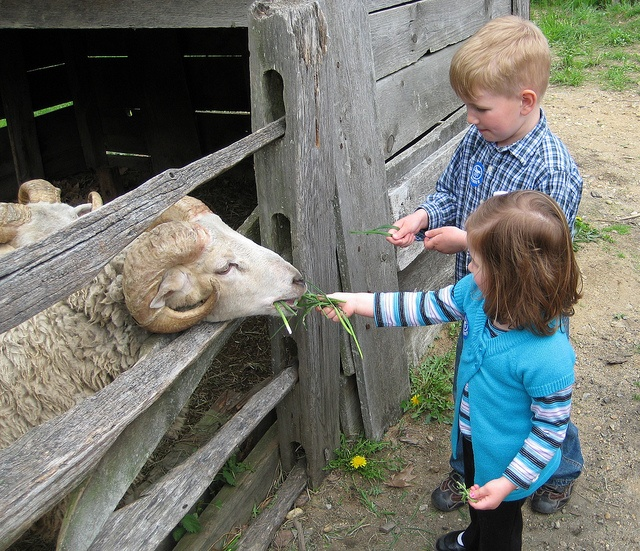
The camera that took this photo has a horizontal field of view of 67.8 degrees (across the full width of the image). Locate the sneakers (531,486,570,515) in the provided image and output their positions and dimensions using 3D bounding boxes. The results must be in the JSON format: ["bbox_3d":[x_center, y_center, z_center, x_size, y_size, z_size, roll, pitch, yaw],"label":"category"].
[{"bbox_3d":[1.201,1.156,2.489,0.260,0.115,0.096,-16,15,-42],"label":"sneakers"}]
